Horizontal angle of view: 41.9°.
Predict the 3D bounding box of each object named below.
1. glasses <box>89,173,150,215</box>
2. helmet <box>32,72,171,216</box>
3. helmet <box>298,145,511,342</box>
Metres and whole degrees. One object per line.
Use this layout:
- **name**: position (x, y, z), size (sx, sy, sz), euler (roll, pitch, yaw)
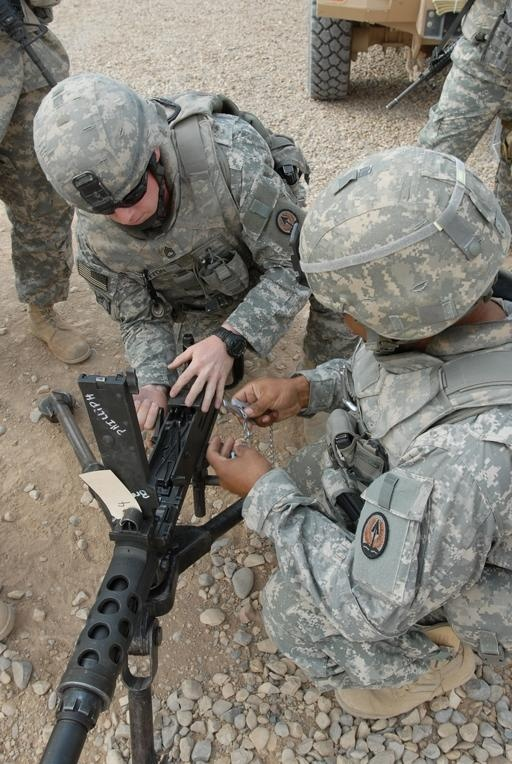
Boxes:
- **glasses**: position (-0.434, -0.606, 2.222), size (0.141, 0.164, 0.047), euler (-24, 85, 4)
- **helmet**: position (-0.520, -0.779, 2.186), size (0.396, 0.302, 0.400), euler (-1, 50, 1)
- **helmet**: position (0.305, -0.286, 1.629), size (0.486, 0.403, 0.373), euler (23, 81, 52)
